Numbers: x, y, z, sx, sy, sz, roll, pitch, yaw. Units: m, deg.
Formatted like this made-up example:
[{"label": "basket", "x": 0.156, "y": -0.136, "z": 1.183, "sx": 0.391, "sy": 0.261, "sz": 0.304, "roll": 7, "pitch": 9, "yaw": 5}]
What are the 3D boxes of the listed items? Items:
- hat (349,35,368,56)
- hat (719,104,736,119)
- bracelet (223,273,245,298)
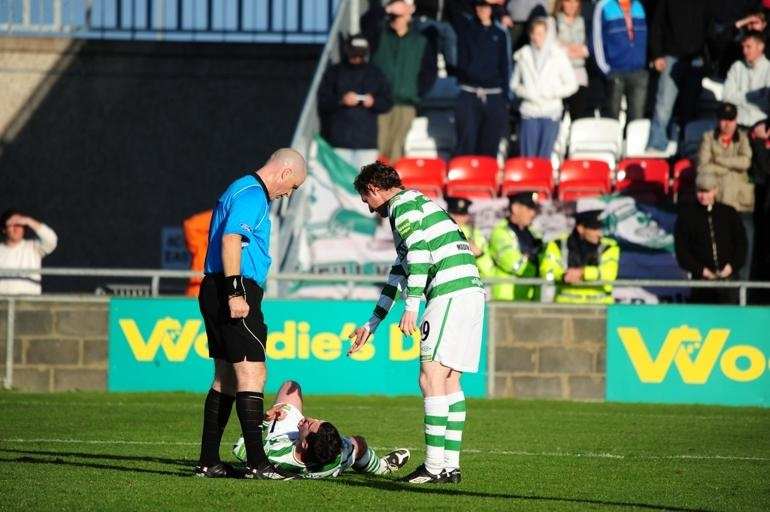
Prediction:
[{"label": "hat", "x": -0.490, "y": -3.840, "z": 32.719, "sx": 0.295, "sy": 0.379, "sz": 0.375, "roll": 2, "pitch": 21, "yaw": 2}, {"label": "hat", "x": 6.001, "y": -2.484, "z": 30.882, "sx": 0.313, "sy": 0.309, "sz": 0.266, "roll": 1, "pitch": -2, "yaw": 10}, {"label": "bracelet", "x": -2.263, "y": 0.480, "z": 26.290, "sx": 0.300, "sy": 0.329, "sz": 0.297, "roll": -3, "pitch": -16, "yaw": -28}]
